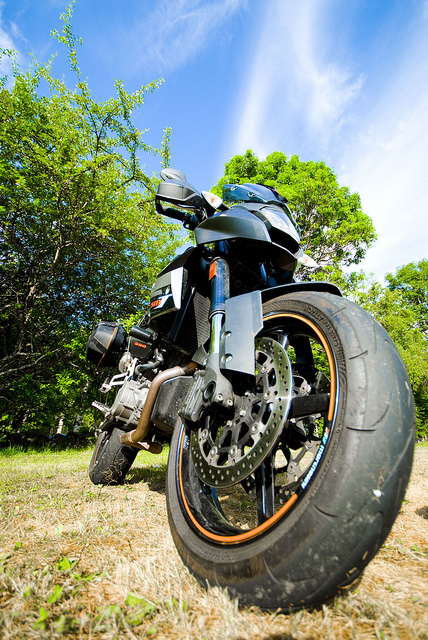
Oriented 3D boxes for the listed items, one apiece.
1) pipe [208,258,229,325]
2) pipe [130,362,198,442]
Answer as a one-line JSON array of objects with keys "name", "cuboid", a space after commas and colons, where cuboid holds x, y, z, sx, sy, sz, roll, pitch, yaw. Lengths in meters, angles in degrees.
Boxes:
[{"name": "pipe", "cuboid": [0.032, -0.181, 1.842, 0.093, 0.323, 0.151, 11, -12, -7]}, {"name": "pipe", "cuboid": [-0.316, 0.470, 2.143, 0.333, 0.505, 0.229, 9, -12, 2]}]
